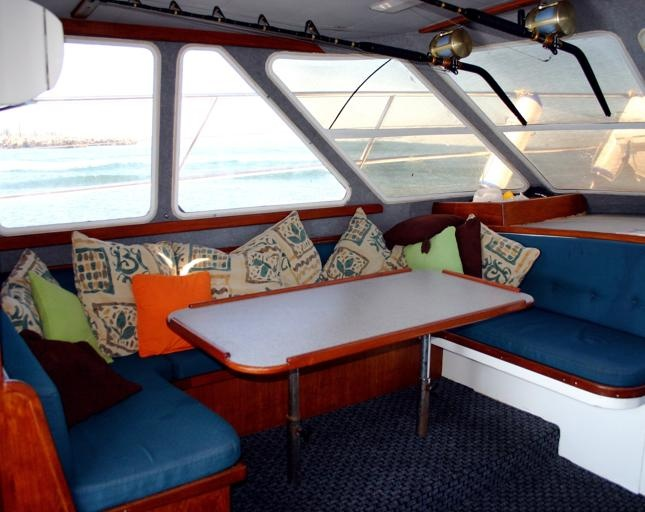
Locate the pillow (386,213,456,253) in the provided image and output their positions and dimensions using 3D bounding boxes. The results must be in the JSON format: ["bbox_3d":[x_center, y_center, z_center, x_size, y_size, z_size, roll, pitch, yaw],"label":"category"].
[{"bbox_3d":[0.687,-0.202,3.661,0.351,0.091,0.332,-16,7,32],"label":"pillow"}]

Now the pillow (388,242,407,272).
[{"bbox_3d":[0.538,0.001,3.620,0.146,0.154,0.053,4,-13,-21],"label":"pillow"}]

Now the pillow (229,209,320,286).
[{"bbox_3d":[-0.268,-0.034,3.237,0.160,0.447,0.525,-17,11,45],"label":"pillow"}]

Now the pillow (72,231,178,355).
[{"bbox_3d":[-1.046,0.215,2.626,0.687,0.522,0.342,-5,21,-43],"label":"pillow"}]
